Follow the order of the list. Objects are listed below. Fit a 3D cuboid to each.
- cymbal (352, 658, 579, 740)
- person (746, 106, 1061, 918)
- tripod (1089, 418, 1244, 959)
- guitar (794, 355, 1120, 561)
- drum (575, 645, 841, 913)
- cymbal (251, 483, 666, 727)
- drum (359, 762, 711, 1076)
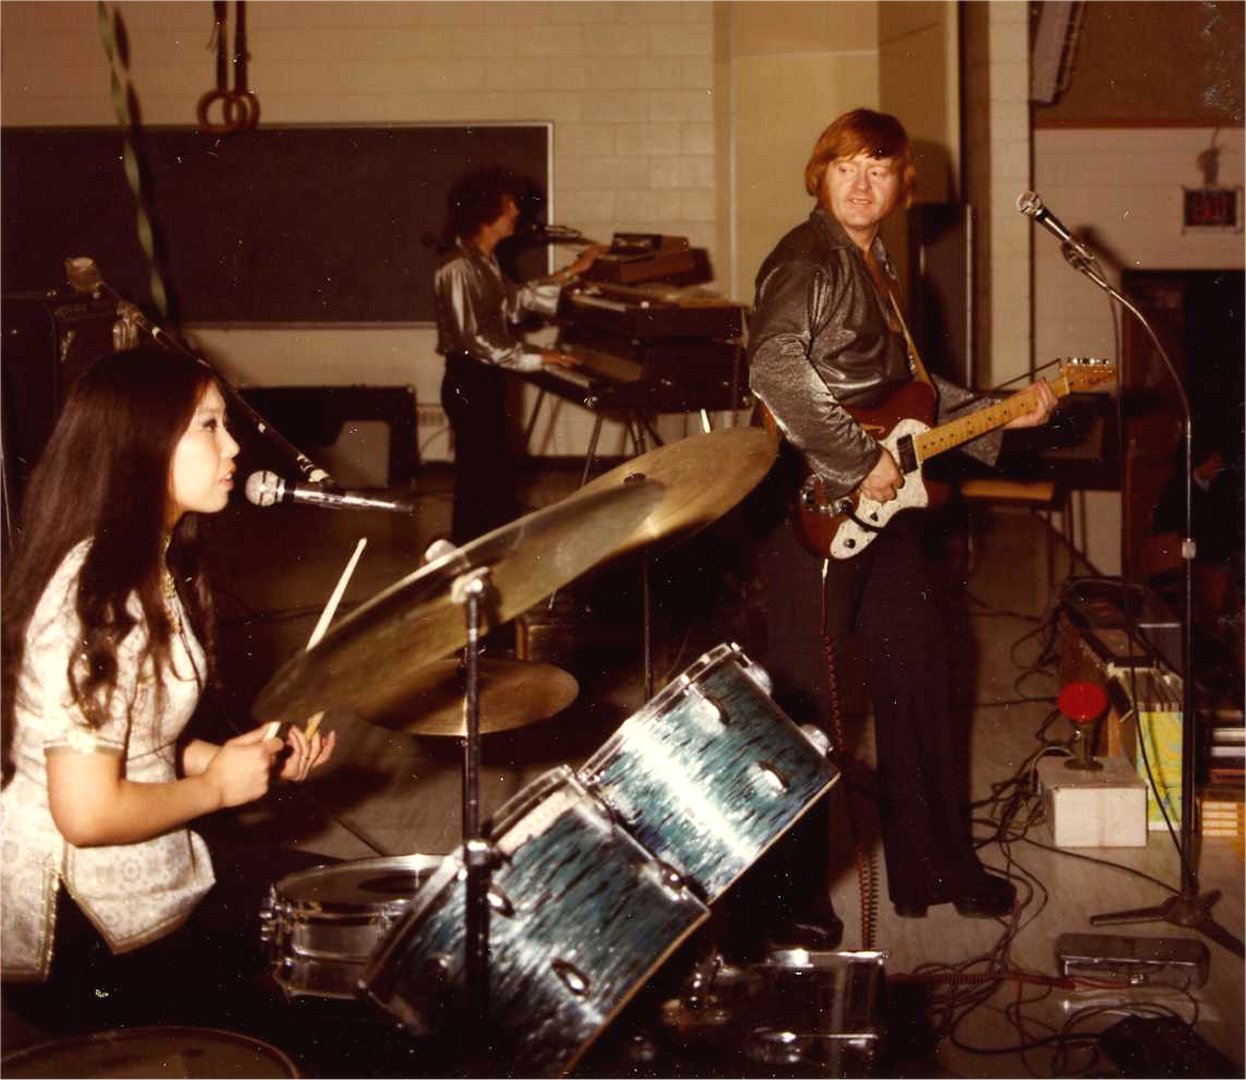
[{"bbox_3d":[-0.326,0.337,2.634,0.387,0.096,0.406,-1,19,8],"label":"cymbal"},{"bbox_3d":[0.684,-0.093,3.269,0.695,2.005,0.616,3,10,18],"label":"person"},{"bbox_3d":[1.612,0.221,3.570,0.341,1.271,1.576,4,11,25],"label":"tripod"},{"bbox_3d":[0.817,-0.284,3.183,0.906,0.376,0.111,-27,10,-11],"label":"guitar"},{"bbox_3d":[0.204,0.494,2.492,0.460,0.334,0.480,-40,20,17],"label":"drum"},{"bbox_3d":[-0.248,0.102,1.910,0.475,0.480,0.114,-25,67,-42],"label":"cymbal"},{"bbox_3d":[-0.094,0.549,2.296,0.439,0.602,0.606,36,-5,8],"label":"drum"}]
